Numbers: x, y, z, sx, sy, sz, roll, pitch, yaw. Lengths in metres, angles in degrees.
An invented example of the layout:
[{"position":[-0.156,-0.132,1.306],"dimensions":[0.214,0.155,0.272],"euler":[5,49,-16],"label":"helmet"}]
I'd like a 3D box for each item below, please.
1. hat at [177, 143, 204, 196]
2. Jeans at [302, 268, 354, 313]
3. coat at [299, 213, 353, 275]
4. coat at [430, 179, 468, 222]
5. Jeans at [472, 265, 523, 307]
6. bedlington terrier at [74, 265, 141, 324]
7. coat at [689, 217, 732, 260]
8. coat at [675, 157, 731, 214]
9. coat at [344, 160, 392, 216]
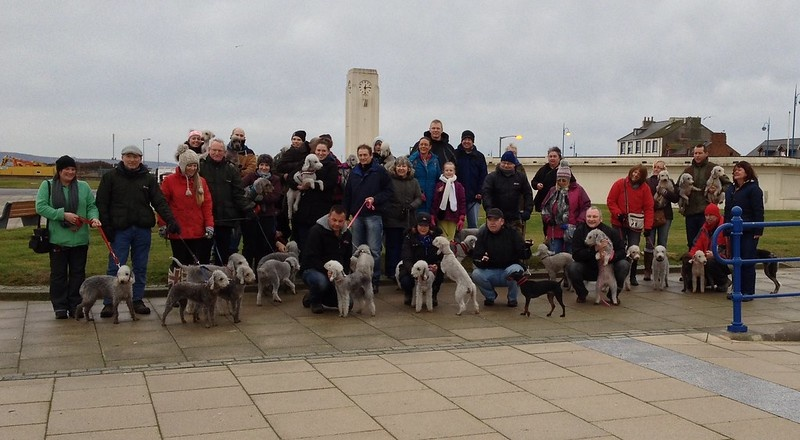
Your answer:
[{"position":[-4.449,-0.990,14.593],"dimensions":[0.508,1.100,1.319],"euler":[-3,1,-17],"label":"hat"},{"position":[-1.602,1.365,14.358],"dimensions":[0.844,0.935,0.665],"euler":[6,33,39],"label":"Jeans"},{"position":[-1.652,0.487,14.464],"dimensions":[1.309,1.514,1.143],"euler":[2,0,-36],"label":"coat"},{"position":[1.122,-0.458,16.228],"dimensions":[1.121,1.057,0.622],"euler":[0,4,-3],"label":"coat"},{"position":[2.072,1.298,14.714],"dimensions":[1.248,0.799,0.890],"euler":[1,-1,-5],"label":"Jeans"},{"position":[-5.667,1.438,13.313],"dimensions":[1.163,1.140,0.567],"euler":[-2,1,7],"label":"bedlington terrier"},{"position":[6.991,0.426,15.392],"dimensions":[0.652,0.864,1.039],"euler":[1,-2,-30],"label":"coat"},{"position":[7.439,-0.805,17.031],"dimensions":[1.515,1.321,1.231],"euler":[-7,-16,32],"label":"coat"},{"position":[-0.697,-0.665,15.403],"dimensions":[1.360,1.335,0.835],"euler":[-1,-5,15],"label":"coat"}]
